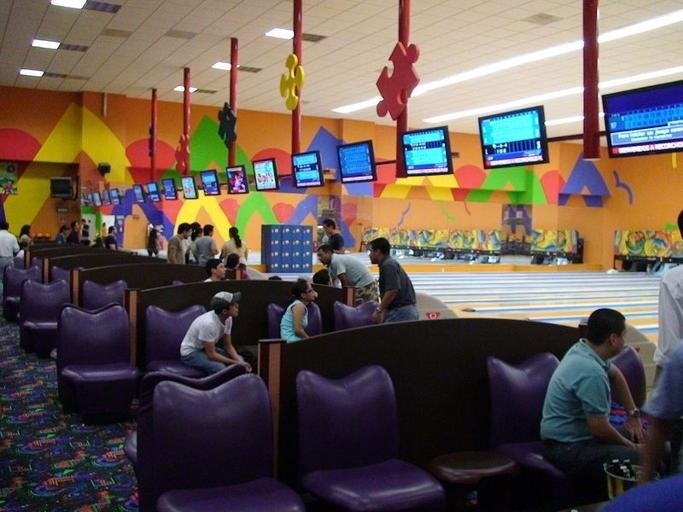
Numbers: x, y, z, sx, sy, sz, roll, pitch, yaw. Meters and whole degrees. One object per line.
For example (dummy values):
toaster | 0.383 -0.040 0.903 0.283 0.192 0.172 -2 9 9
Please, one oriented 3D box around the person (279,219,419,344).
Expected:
person | 0.112 0.310 5.576 1.170 1.909 0.950 3 -10 -14

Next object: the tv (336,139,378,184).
tv | 0.274 -1.723 8.978 0.261 0.713 0.958 -2 5 -39

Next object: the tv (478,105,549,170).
tv | 2.235 -1.556 6.519 0.293 0.712 1.018 -2 5 -36

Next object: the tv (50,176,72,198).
tv | -8.333 -2.078 14.892 0.585 0.599 0.331 0 2 -14

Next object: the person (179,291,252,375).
person | -1.144 0.675 4.432 0.633 0.995 0.431 4 21 -5

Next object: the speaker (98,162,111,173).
speaker | -7.025 -2.661 14.839 0.289 0.233 0.294 2 4 -27

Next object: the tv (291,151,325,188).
tv | -0.708 -1.672 9.448 0.470 0.636 0.769 -3 5 -44

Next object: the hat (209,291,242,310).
hat | -0.970 0.350 4.209 0.237 0.093 0.152 -16 20 -20

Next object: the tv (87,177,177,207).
tv | -5.933 -1.797 14.328 3.457 0.753 1.032 3 5 33
